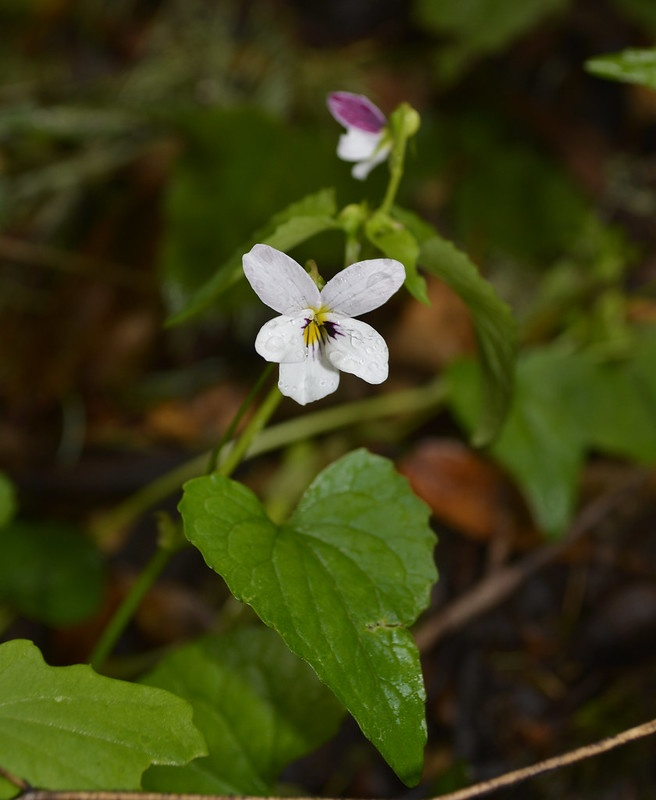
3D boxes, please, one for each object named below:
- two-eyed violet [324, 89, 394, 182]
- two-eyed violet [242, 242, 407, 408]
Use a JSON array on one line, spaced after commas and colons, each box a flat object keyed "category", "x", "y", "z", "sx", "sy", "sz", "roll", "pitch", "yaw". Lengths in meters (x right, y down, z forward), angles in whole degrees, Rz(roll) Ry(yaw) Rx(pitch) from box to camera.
[{"category": "two-eyed violet", "x": 0.040, "y": -0.397, "z": 1.220, "sx": 0.075, "sy": 0.182, "sz": 0.123, "roll": -18, "pitch": 57, "yaw": -10}, {"category": "two-eyed violet", "x": -0.013, "y": -0.120, "z": 1.029, "sx": 0.061, "sy": 0.207, "sz": 0.236, "roll": 29, "pitch": 10, "yaw": -19}]
